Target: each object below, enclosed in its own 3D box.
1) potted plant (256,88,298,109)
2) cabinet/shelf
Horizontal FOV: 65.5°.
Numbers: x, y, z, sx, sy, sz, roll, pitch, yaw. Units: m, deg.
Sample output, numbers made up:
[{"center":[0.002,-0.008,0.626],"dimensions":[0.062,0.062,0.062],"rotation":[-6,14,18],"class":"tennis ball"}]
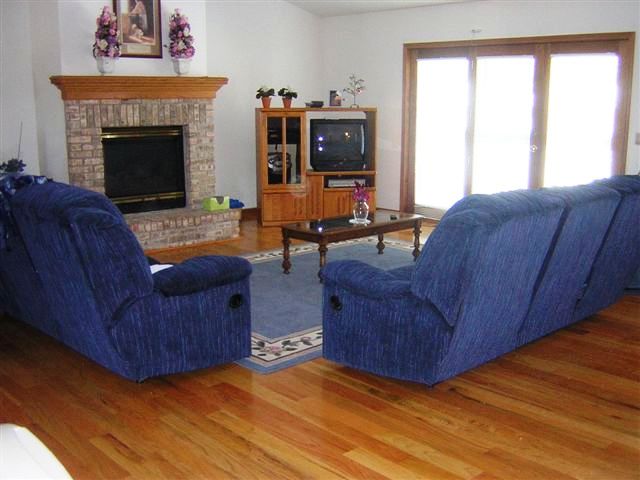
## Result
[{"center":[-0.622,-2.109,7.409],"dimensions":[0.567,0.293,0.621],"rotation":[1,16,10],"class":"potted plant"},{"center":[-0.084,-1.029,7.130],"dimensions":[2.057,1.626,0.545],"rotation":[-3,8,-19],"class":"cabinet/shelf"}]
